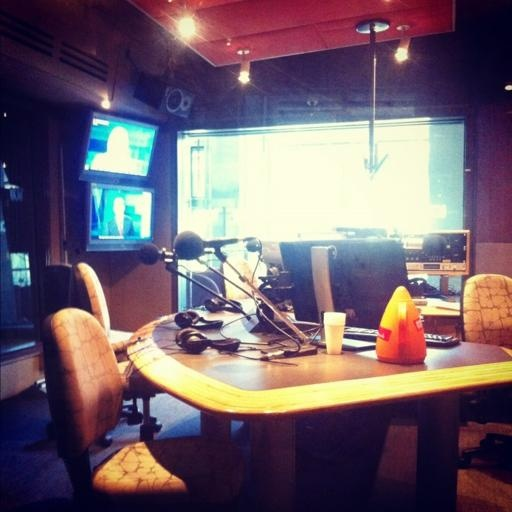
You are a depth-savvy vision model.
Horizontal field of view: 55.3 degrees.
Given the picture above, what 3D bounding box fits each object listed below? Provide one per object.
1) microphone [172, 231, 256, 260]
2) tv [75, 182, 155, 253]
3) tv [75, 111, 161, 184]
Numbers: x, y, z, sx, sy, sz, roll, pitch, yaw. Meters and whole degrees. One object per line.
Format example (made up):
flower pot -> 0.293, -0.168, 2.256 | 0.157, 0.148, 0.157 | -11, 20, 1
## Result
microphone -> -0.151, -0.015, 2.073 | 0.429, 0.168, 0.134 | 2, -2, -33
tv -> -1.438, -0.393, 4.832 | 0.082, 0.667, 0.681 | 1, 1, 31
tv -> -1.399, -1.087, 4.803 | 0.092, 0.557, 0.701 | 22, 19, 31
